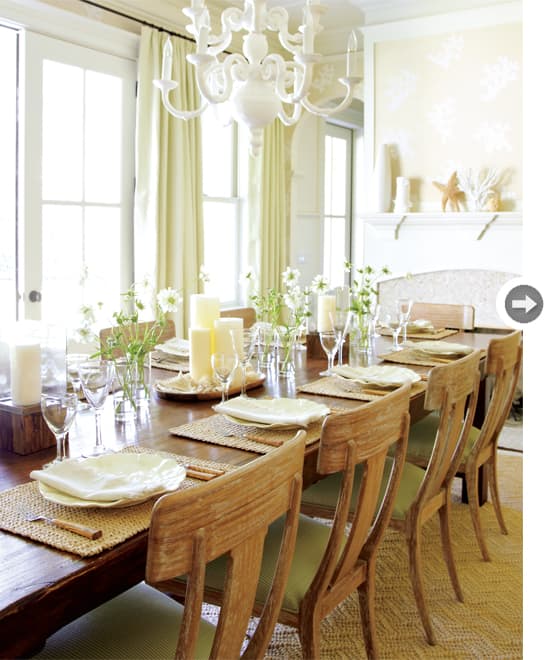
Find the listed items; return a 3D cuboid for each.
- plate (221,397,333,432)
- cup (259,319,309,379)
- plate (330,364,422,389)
[{"bbox_3d":[-0.015,0.228,1.497,0.322,0.051,0.279,2,6,20],"label":"plate"},{"bbox_3d":[0.024,0.072,2.188,0.201,0.236,0.217,1,1,0],"label":"cup"},{"bbox_3d":[0.363,0.164,1.877,0.165,0.033,0.149,5,7,39],"label":"plate"}]
